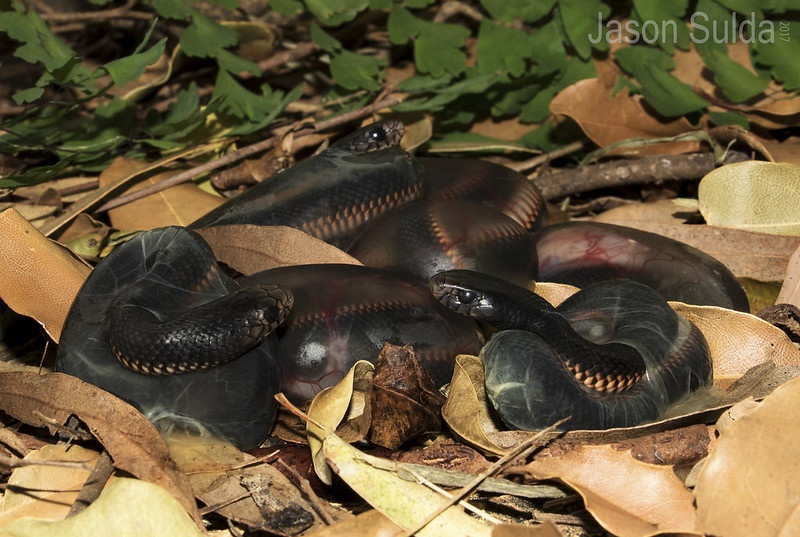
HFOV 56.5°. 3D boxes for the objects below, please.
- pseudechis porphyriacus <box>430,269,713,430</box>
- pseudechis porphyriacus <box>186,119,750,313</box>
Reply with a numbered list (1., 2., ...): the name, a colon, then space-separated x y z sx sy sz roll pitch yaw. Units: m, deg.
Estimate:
1. pseudechis porphyriacus: 0.438 0.177 1.762 0.549 0.375 0.410 -17 49 4
2. pseudechis porphyriacus: 0.206 -0.056 2.081 1.117 0.171 0.742 15 13 5
